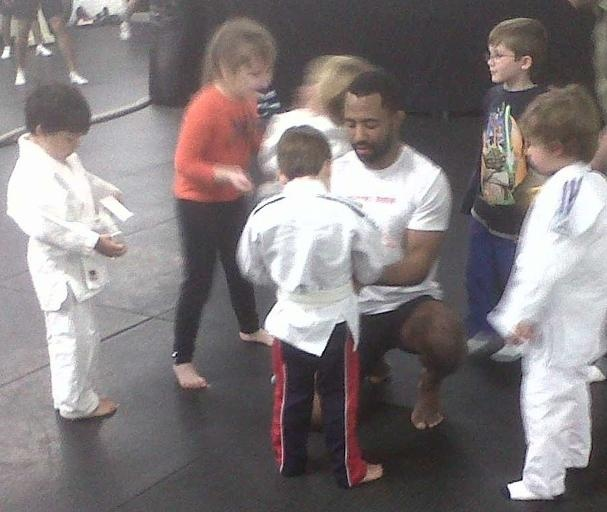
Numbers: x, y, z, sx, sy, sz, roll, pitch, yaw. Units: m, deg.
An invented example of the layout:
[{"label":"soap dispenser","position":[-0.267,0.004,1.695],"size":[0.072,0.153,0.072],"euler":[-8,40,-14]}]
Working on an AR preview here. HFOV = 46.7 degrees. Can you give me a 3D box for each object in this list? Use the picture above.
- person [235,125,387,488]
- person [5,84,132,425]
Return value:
[{"label":"person","position":[0.054,0.225,2.643],"size":[0.612,1.375,0.361],"euler":[5,28,6]},{"label":"person","position":[-0.991,0.005,3.018],"size":[0.445,1.443,0.439],"euler":[-5,28,-14]}]
